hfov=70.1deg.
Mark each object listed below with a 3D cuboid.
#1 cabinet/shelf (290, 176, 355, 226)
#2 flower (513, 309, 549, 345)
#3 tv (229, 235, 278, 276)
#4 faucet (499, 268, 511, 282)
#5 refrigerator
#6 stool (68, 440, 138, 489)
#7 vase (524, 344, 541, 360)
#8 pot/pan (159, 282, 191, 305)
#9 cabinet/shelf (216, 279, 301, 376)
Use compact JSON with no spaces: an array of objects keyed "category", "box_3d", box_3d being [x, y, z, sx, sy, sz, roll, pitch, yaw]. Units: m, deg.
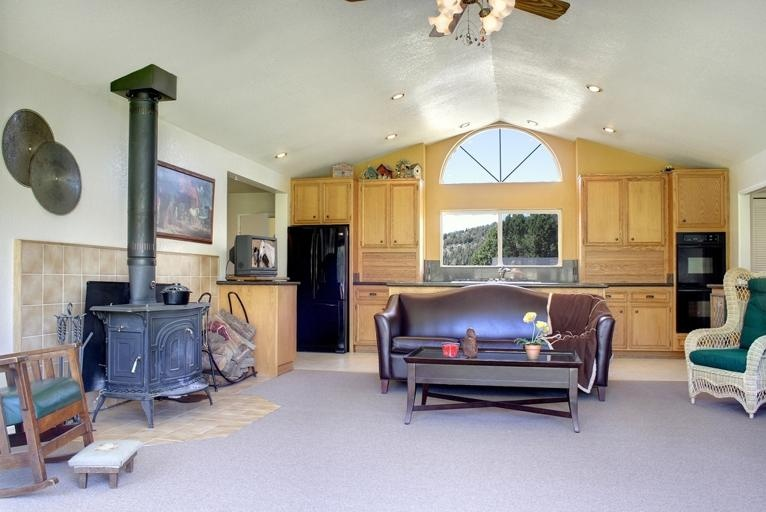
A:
[{"category":"cabinet/shelf","box_3d":[-0.909,-0.869,8.713,0.834,0.668,0.359,0,-3,6]},{"category":"flower","box_3d":[1.656,0.793,6.094,0.381,0.359,0.370,7,-9,-32]},{"category":"tv","box_3d":[-1.594,0.015,6.960,0.520,0.451,0.536,-2,-5,27]},{"category":"faucet","box_3d":[2.023,0.270,8.963,0.178,0.175,0.492,1,5,14]},{"category":"refrigerator","box_3d":[-1.015,0.487,8.566,0.930,1.942,0.298,1,6,12]},{"category":"stool","box_3d":[-2.013,1.457,3.996,0.312,0.181,0.411,0,-2,-1]},{"category":"vase","box_3d":[1.405,0.887,5.129,0.140,0.102,0.135,1,-1,-15]},{"category":"pot/pan","box_3d":[-2.002,0.350,5.310,0.228,0.164,0.250,-2,-4,20]},{"category":"cabinet/shelf","box_3d":[-1.593,0.890,7.585,1.098,1.618,1.215,0,-2,15]}]
